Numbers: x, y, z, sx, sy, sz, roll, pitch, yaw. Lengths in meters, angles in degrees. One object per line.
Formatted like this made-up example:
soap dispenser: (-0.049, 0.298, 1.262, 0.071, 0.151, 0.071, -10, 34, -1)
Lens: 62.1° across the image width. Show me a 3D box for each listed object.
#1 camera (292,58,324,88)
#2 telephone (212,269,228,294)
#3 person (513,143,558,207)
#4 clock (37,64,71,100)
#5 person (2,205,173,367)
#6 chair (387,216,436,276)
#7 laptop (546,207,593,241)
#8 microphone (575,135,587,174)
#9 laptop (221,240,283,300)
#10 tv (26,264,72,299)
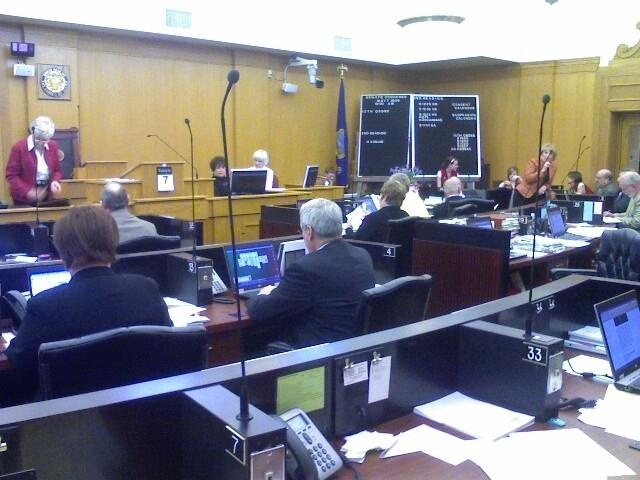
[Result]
camera: (-0.212, -2.978, 9.532, 0.534, 0.569, 0.164, -6, -6, -7)
telephone: (-0.606, 0.257, 3.138, 0.123, 0.117, 0.030, -17, -15, -49)
person: (2.698, -0.646, 6.523, 0.326, 1.016, 0.343, 4, 25, 0)
clock: (-3.466, -2.038, 6.889, 0.048, 0.496, 0.473, 5, 5, 43)
person: (-0.978, 0.194, 2.250, 0.483, 0.848, 0.464, -9, 21, -25)
chair: (0.743, 0.060, 4.320, 0.398, 0.577, 0.314, -7, 11, -39)
laptop: (2.432, -0.200, 5.222, 0.305, 0.260, 0.389, 5, 7, 37)
microphone: (4.740, -1.556, 9.593, 0.200, 0.622, 0.120, 11, 13, 32)
laptop: (-0.403, 0.144, 3.241, 0.339, 0.251, 0.286, -7, 10, -39)
tv: (-1.269, 0.176, 2.503, 0.208, 0.153, 0.155, -9, 10, -43)
